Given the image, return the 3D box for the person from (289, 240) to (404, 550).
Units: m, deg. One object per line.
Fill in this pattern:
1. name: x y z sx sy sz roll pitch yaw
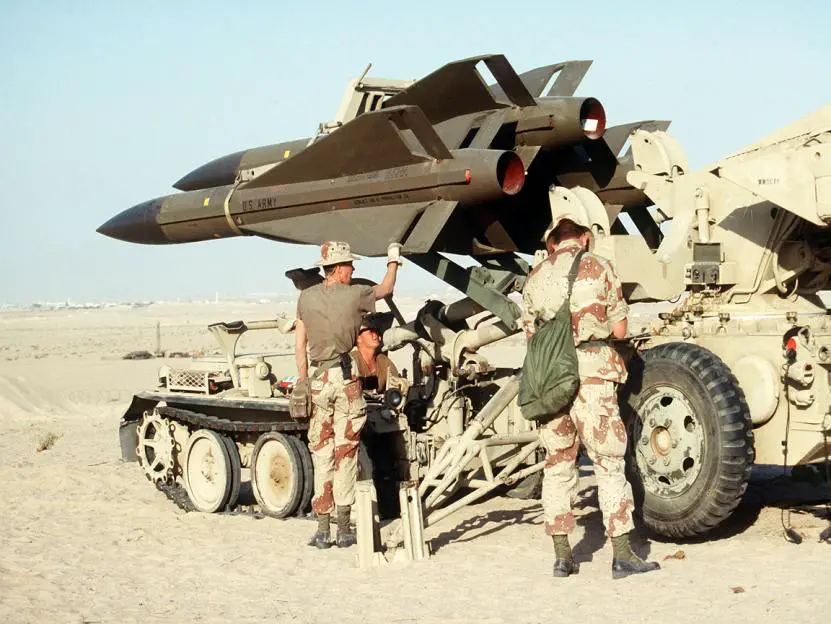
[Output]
1. person: -0.693 0.775 8.724 0.918 2.784 0.430 1 0 -7

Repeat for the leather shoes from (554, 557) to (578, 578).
1. leather shoes: 1.216 2.077 7.521 0.095 0.108 0.264 0 0 17

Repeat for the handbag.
1. handbag: 1.072 0.404 7.477 0.526 0.899 0.181 1 0 44

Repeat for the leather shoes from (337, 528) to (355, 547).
1. leather shoes: -0.639 2.119 8.682 0.090 0.185 0.266 2 1 19
